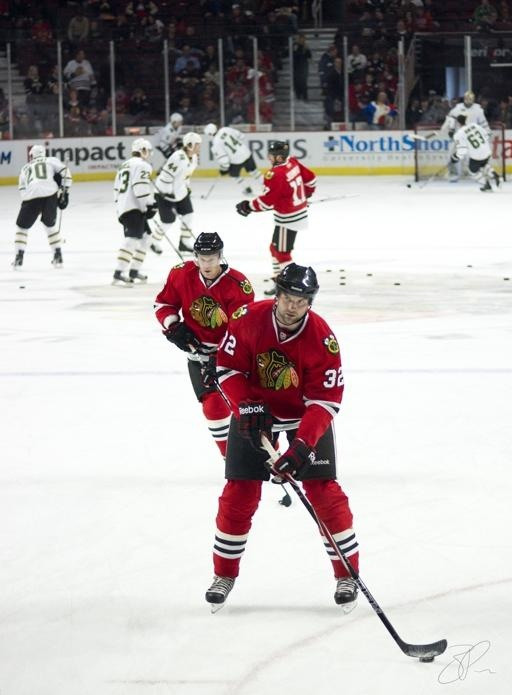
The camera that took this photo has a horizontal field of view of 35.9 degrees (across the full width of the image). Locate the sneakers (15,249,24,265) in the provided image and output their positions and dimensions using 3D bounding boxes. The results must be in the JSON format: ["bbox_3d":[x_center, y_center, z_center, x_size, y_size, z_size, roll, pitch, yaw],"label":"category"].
[{"bbox_3d":[-2.486,-0.939,8.284,0.097,0.171,0.096,-5,15,-16],"label":"sneakers"}]

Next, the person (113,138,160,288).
[{"bbox_3d":[-1.166,-1.272,7.438,0.429,1.346,0.505,-3,14,-8],"label":"person"}]

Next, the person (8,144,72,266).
[{"bbox_3d":[-2.271,-1.497,8.378,0.509,1.260,0.689,3,14,15],"label":"person"}]

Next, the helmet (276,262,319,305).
[{"bbox_3d":[0.117,-0.177,2.140,0.100,0.108,0.121,13,11,2],"label":"helmet"}]

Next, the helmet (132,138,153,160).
[{"bbox_3d":[-1.068,-1.853,7.356,0.167,0.178,0.245,-4,13,-12],"label":"helmet"}]

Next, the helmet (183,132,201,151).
[{"bbox_3d":[-0.707,-2.276,8.649,0.182,0.169,0.280,-2,13,-6],"label":"helmet"}]

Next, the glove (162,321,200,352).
[{"bbox_3d":[-0.290,-0.037,3.090,0.155,0.035,0.087,26,17,-11],"label":"glove"}]

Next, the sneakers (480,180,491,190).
[{"bbox_3d":[3.998,-2.813,13.771,0.094,0.154,0.217,-5,24,-6],"label":"sneakers"}]

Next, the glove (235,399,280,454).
[{"bbox_3d":[0.007,0.215,2.158,0.095,0.130,0.039,3,-31,-27],"label":"glove"}]

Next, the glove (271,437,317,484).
[{"bbox_3d":[0.098,0.296,2.099,0.048,0.110,0.109,40,7,-37],"label":"glove"}]

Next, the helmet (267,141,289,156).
[{"bbox_3d":[0.189,-1.680,6.640,0.163,0.120,0.347,-1,13,1],"label":"helmet"}]

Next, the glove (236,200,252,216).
[{"bbox_3d":[-0.109,-1.241,7.023,0.129,0.185,0.195,9,15,-2],"label":"glove"}]

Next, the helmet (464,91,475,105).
[{"bbox_3d":[3.809,-4.474,14.205,0.163,0.247,0.202,0,14,3],"label":"helmet"}]

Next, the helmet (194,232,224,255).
[{"bbox_3d":[-0.169,-0.382,2.882,0.090,0.093,0.104,1,9,4],"label":"helmet"}]
